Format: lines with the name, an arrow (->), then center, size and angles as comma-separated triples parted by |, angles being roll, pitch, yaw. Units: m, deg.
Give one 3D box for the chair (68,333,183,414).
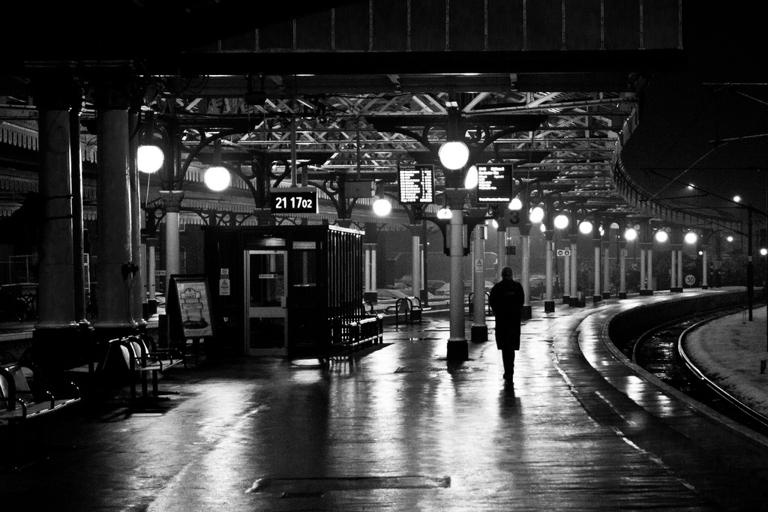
chair -> -6.093, 2.529, 24.834 | 2.306, 1.636, 3.209 | -1, 5, -16
